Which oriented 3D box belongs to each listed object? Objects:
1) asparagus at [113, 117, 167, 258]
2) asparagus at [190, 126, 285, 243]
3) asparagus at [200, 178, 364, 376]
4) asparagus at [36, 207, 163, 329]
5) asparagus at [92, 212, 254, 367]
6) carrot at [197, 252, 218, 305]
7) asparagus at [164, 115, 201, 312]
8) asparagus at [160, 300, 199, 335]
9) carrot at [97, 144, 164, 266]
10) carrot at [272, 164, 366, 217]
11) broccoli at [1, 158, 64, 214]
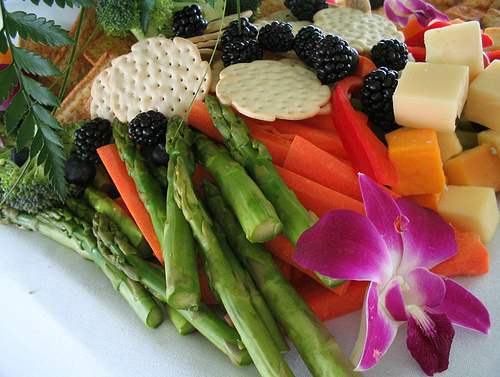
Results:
[{"bbox_3d":[-0.339,0.008,1.383,0.070,0.075,0.480,-27,64,5],"label":"asparagus"},{"bbox_3d":[-0.068,-0.042,1.353,0.132,0.127,0.493,-40,47,13],"label":"asparagus"},{"bbox_3d":[0.074,0.244,1.150,0.076,0.065,0.559,-31,72,-12],"label":"asparagus"},{"bbox_3d":[-0.347,0.328,1.407,0.154,0.625,0.121,0,49,10],"label":"asparagus"},{"bbox_3d":[-0.195,0.284,1.191,0.099,0.073,0.492,-44,77,10],"label":"asparagus"},{"bbox_3d":[-0.127,0.266,1.296,0.038,0.024,0.194,-13,74,-9],"label":"carrot"},{"bbox_3d":[-0.187,0.098,1.232,0.082,0.065,0.503,6,41,-15],"label":"asparagus"},{"bbox_3d":[-0.184,0.350,1.251,0.079,0.056,0.148,9,11,-23],"label":"asparagus"},{"bbox_3d":[-0.384,-0.007,1.463,0.132,0.082,0.510,-15,71,-37],"label":"carrot"},{"bbox_3d":[0.192,0.008,1.370,0.336,0.093,0.082,21,69,14],"label":"carrot"},{"bbox_3d":[-0.742,0.033,1.527,0.175,0.079,0.198,-37,76,-28],"label":"broccoli"}]
